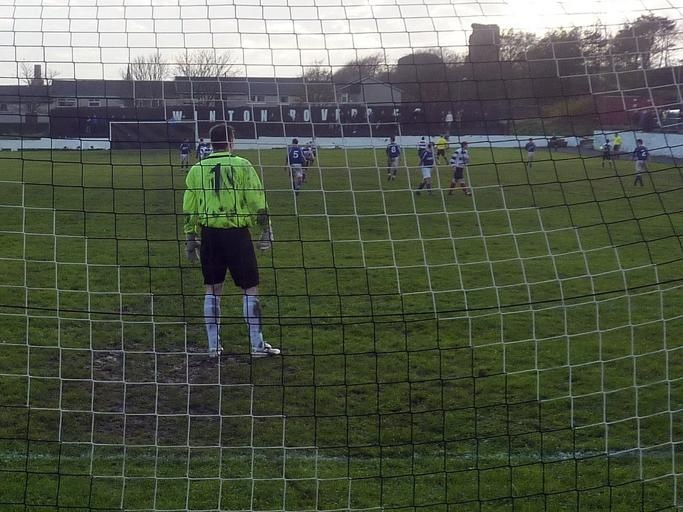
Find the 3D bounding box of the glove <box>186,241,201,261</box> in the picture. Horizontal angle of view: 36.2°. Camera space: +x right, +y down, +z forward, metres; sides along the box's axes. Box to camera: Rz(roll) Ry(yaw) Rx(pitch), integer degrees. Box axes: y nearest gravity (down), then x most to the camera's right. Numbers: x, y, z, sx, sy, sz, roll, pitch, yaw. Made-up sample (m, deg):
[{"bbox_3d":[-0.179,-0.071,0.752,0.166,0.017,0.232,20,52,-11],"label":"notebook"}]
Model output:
[{"bbox_3d":[-1.747,-0.065,12.128,0.121,0.131,0.293,-22,0,-9],"label":"glove"}]
